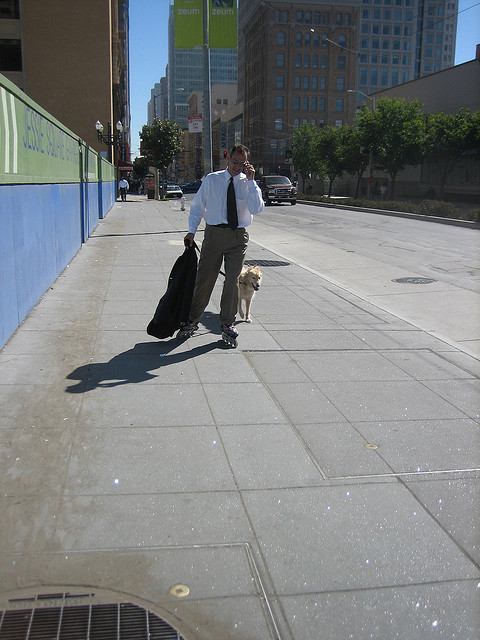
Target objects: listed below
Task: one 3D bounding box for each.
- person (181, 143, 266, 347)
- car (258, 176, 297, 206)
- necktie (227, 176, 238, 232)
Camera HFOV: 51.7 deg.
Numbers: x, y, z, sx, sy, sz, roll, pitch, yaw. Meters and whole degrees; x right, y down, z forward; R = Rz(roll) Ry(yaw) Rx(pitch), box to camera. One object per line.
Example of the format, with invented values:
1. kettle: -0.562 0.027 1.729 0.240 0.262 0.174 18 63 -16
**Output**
1. person: -0.182 -0.795 5.507 0.849 2.159 0.629 2 8 4
2. car: 3.036 -10.462 40.085 2.874 2.290 2.071 3 9 4
3. necktie: -0.084 -1.258 5.352 0.109 0.581 0.130 1 8 -2
